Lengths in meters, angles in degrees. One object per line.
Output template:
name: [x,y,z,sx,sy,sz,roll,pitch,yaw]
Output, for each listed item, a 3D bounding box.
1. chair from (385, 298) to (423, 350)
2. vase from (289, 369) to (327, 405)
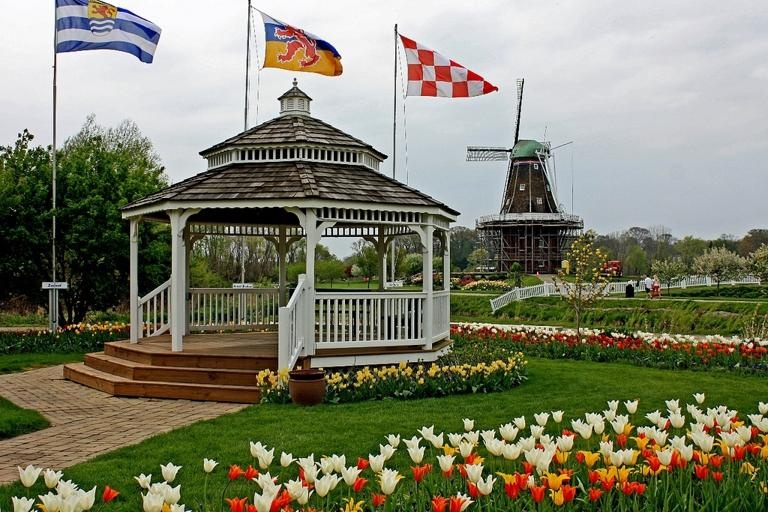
chair: [0.679,1.635,23.535,1.097,1.296,1.114,2,1,-26]
vase: [-1.745,2.987,20.320,0.738,0.576,0.774,0,-7,0]
